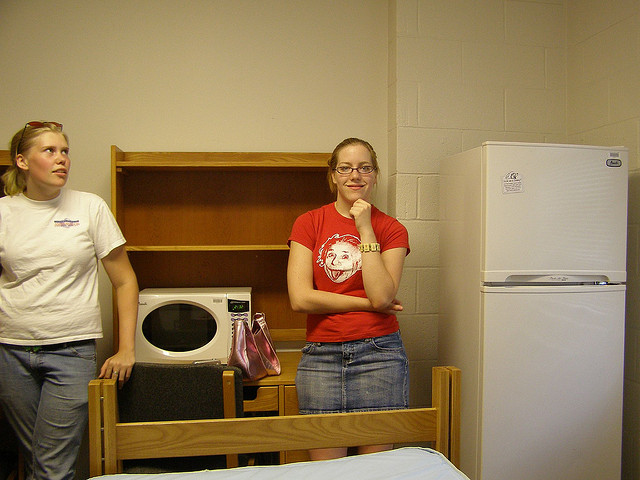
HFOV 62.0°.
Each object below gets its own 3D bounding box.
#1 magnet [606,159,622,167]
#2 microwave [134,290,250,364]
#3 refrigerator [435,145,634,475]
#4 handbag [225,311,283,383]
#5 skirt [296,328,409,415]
[{"bbox_3d":[1.347,-0.355,2.426,0.055,0.033,0.013,-1,4,-3],"label":"magnet"},{"bbox_3d":[-0.648,0.447,2.796,0.594,0.376,0.365,1,4,2],"label":"microwave"},{"bbox_3d":[1.010,0.328,2.508,0.849,1.544,0.430,-1,5,10],"label":"refrigerator"},{"bbox_3d":[-0.337,0.529,2.561,0.185,0.322,0.329,-7,-8,18],"label":"handbag"},{"bbox_3d":[0.128,0.549,2.132,0.525,0.399,0.296,0,-7,-3],"label":"skirt"}]
